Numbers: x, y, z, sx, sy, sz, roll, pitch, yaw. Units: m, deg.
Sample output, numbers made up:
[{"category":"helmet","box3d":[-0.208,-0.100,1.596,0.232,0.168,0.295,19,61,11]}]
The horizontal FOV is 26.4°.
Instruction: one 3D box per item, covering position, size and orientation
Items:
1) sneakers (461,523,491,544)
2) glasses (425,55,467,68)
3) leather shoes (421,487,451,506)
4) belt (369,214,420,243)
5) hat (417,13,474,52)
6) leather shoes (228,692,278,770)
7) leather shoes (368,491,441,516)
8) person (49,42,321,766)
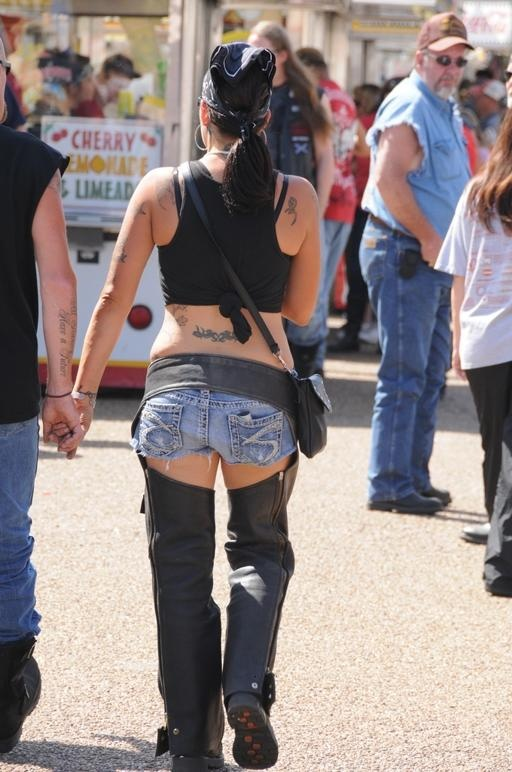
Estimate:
[{"category":"sneakers","box3d":[0.935,0.633,4.702,0.161,0.067,0.070,11,8,-1]},{"category":"glasses","box3d":[0.849,-1.421,4.762,0.183,0.053,0.079,-3,12,-25]},{"category":"leather shoes","box3d":[0.868,0.528,5.235,0.167,0.067,0.070,16,9,-22]},{"category":"belt","box3d":[0.609,-0.735,4.858,0.170,0.055,0.127,26,-9,15]},{"category":"hat","box3d":[0.819,-1.556,4.793,0.169,0.125,0.252,0,7,-14]},{"category":"leather shoes","box3d":[-0.012,0.747,2.385,0.093,0.171,0.078,-12,28,12]},{"category":"leather shoes","box3d":[0.700,0.560,5.146,0.340,0.140,0.121,-2,7,2]},{"category":"person","box3d":[-0.071,0.044,2.534,0.539,1.649,0.715,-3,12,-24]}]
